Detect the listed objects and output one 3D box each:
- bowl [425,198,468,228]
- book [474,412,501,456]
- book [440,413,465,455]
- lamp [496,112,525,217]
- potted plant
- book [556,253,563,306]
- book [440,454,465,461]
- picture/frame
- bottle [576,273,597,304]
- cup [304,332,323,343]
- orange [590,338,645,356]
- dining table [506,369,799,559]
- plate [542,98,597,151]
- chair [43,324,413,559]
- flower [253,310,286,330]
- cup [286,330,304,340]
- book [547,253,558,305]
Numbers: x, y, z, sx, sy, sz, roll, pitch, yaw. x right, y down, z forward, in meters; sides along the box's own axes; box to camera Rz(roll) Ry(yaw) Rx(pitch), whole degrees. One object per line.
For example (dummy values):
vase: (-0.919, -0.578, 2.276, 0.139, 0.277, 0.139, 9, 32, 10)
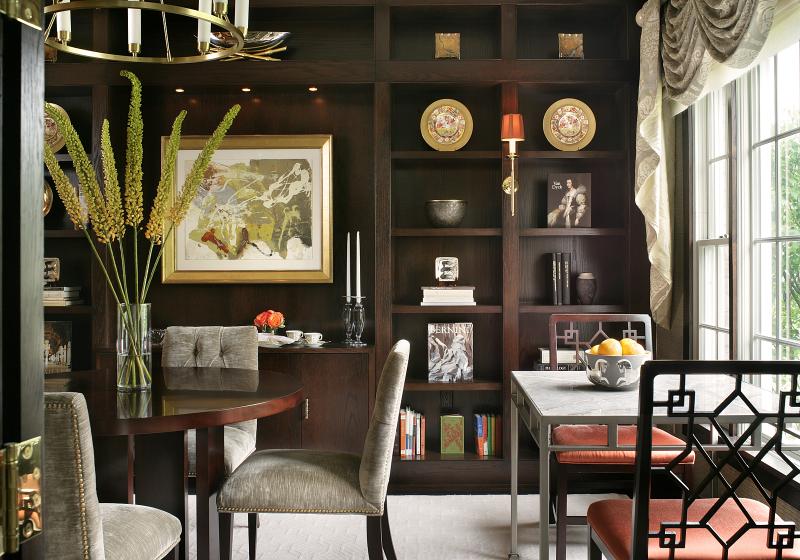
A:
bowl: (0.289, -0.412, 4.505, 0.187, 0.122, 0.189, 0, -6, 0)
book: (0.545, 0.980, 4.483, 0.150, 0.247, 0.129, 0, -1, 5)
book: (0.332, 0.983, 4.541, 0.156, 0.239, 0.179, 0, -2, 3)
lamp: (0.695, -0.702, 4.432, 0.138, 0.627, 0.427, -1, -2, 9)
potted plant: (-1.266, -0.248, 3.303, 0.868, 1.292, 0.798, -2, 13, 7)
book: (1.003, -0.001, 4.494, 0.035, 0.315, 0.014, -1, -1, 13)
book: (0.322, 1.107, 4.424, 0.150, 0.030, 0.107, -1, -2, 8)
picture/frame: (-0.920, -0.444, 4.498, 0.964, 0.835, 0.076, 1, 0, -2)
bottle: (1.161, 0.063, 4.495, 0.115, 0.198, 0.116, 0, -1, 0)
cup: (-0.522, 0.366, 4.466, 0.077, 0.047, 0.063, 7, -10, -40)
orange: (0.960, 0.306, 3.182, 0.167, 0.078, 0.102, -2, -4, -2)
dining table: (0.997, 0.566, 3.109, 1.050, 0.801, 0.992, -1, 1, 4)
plate: (1.057, -0.972, 4.525, 0.318, 0.369, 0.171, -1, -1, 11)
chair: (-0.670, 0.725, 3.345, 1.388, 0.870, 1.083, 3, -4, -3)
flower: (-0.803, 0.246, 4.521, 0.149, 0.131, 0.154, -14, 21, -33)
cup: (-0.647, 0.354, 4.512, 0.073, 0.055, 0.059, 4, -3, -14)
book: (0.966, 0.000, 4.509, 0.067, 0.249, 0.181, 2, 0, 8)
